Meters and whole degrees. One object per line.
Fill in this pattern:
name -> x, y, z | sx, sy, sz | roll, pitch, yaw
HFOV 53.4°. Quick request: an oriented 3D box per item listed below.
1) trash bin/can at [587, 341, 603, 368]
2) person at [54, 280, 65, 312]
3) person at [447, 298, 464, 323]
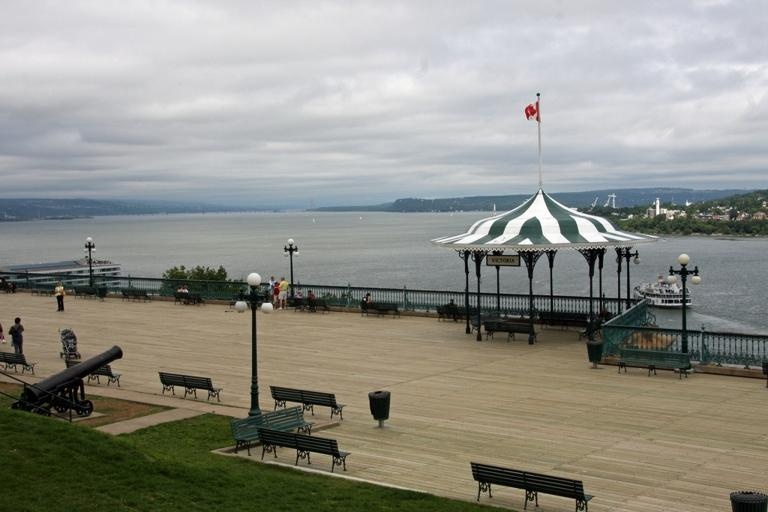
trash bin/can -> 7.442, 3.484, 27.203 | 0.494, 0.874, 0.730 | 1, 8, 15
person -> -17.235, 2.191, 40.603 | 0.404, 1.515, 2.052 | -5, 9, -24
person -> 3.242, 2.636, 36.705 | 0.884, 0.865, 0.937 | -4, 5, -44
